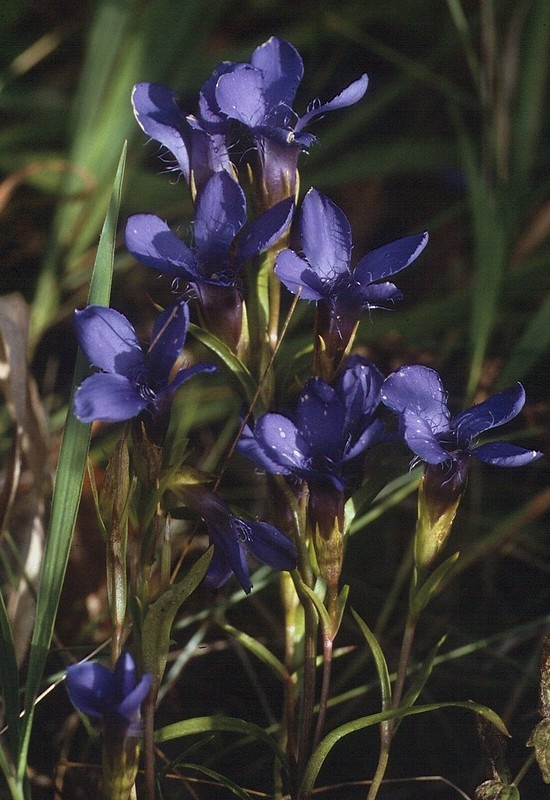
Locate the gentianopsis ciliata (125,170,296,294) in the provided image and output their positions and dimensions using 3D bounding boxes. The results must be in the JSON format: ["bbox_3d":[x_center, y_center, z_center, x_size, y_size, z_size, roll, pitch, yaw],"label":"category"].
[{"bbox_3d":[-0.042,-0.106,0.552,0.097,0.073,0.069,9,29,35],"label":"gentianopsis ciliata"}]

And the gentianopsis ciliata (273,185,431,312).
[{"bbox_3d":[0.042,-0.089,0.565,0.098,0.057,0.074,3,54,-15],"label":"gentianopsis ciliata"}]

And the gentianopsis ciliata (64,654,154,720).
[{"bbox_3d":[-0.099,0.177,0.525,0.051,0.054,0.021,0,25,18],"label":"gentianopsis ciliata"}]

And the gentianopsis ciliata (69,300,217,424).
[{"bbox_3d":[-0.076,-0.012,0.561,0.082,0.052,0.081,-14,55,8],"label":"gentianopsis ciliata"}]

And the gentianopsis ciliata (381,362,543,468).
[{"bbox_3d":[0.130,0.015,0.559,0.083,0.050,0.078,-8,8,-5],"label":"gentianopsis ciliata"}]

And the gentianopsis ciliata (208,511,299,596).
[{"bbox_3d":[-0.016,0.099,0.573,0.061,0.054,0.025,7,29,26],"label":"gentianopsis ciliata"}]

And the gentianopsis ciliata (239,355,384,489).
[{"bbox_3d":[0.029,0.014,0.595,0.088,0.060,0.086,-20,14,-27],"label":"gentianopsis ciliata"}]
